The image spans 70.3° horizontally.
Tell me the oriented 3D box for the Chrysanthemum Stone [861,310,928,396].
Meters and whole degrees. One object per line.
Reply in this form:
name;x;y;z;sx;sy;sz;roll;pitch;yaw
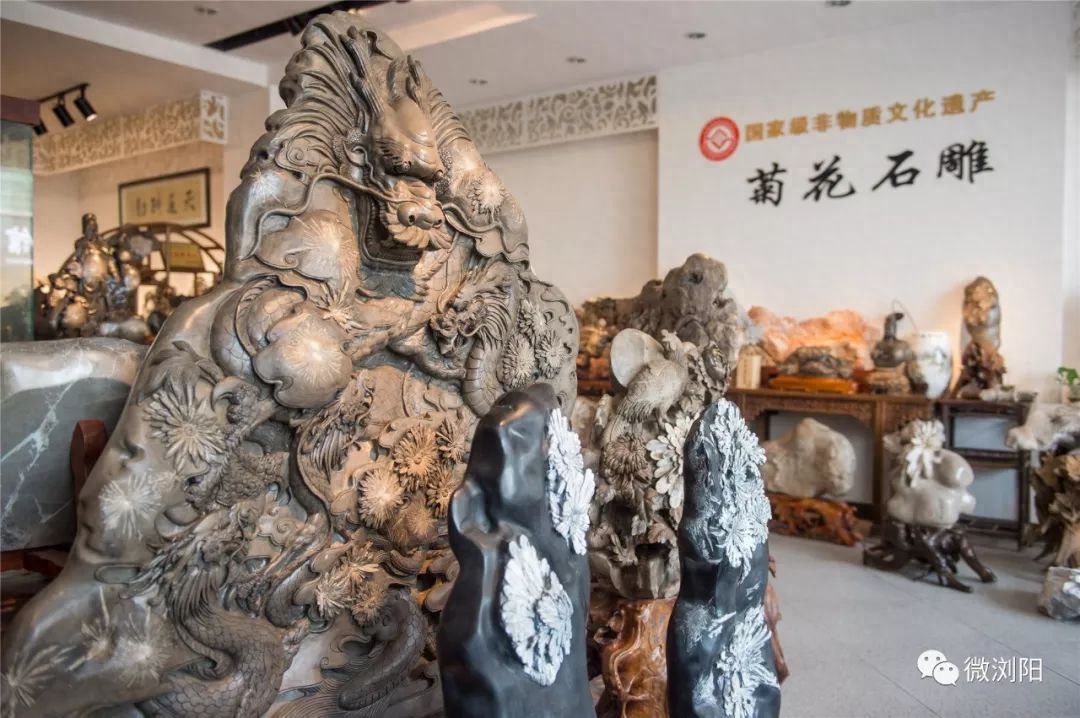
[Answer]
Chrysanthemum Stone;2.376;-0.043;5.314;0.407;0.541;0.401;-8;16;-23

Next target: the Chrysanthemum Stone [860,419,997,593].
Chrysanthemum Stone;2.250;0.815;4.450;0.643;0.898;0.314;9;13;44

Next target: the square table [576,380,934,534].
square table;2.105;0.730;5.766;0.802;0.938;1.455;1;-1;-32

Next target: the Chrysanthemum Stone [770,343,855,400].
Chrysanthemum Stone;1.933;0.090;5.463;0.463;0.236;0.348;0;1;43

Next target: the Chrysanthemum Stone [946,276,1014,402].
Chrysanthemum Stone;2.858;-0.135;4.987;0.283;0.787;0.216;6;11;32

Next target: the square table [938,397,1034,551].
square table;2.918;0.715;5.091;0.493;0.863;0.314;0;2;33
